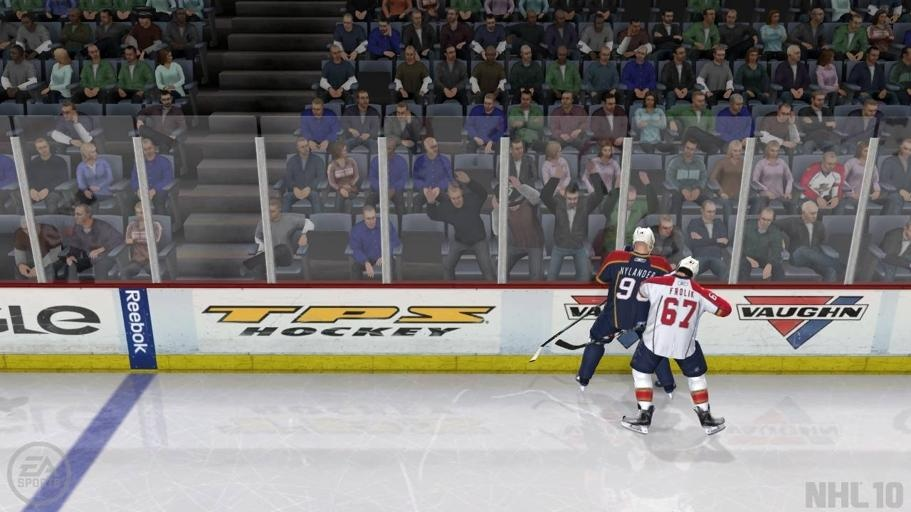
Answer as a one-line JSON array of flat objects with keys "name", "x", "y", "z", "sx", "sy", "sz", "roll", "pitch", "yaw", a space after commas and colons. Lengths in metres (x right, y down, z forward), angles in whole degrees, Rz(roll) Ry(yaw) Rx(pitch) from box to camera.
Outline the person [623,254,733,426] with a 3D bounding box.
[{"name": "person", "x": 2.848, "y": 1.154, "z": 13.601, "sx": 1.283, "sy": 2.265, "sz": 0.503, "roll": 1, "pitch": 11, "yaw": 7}]
